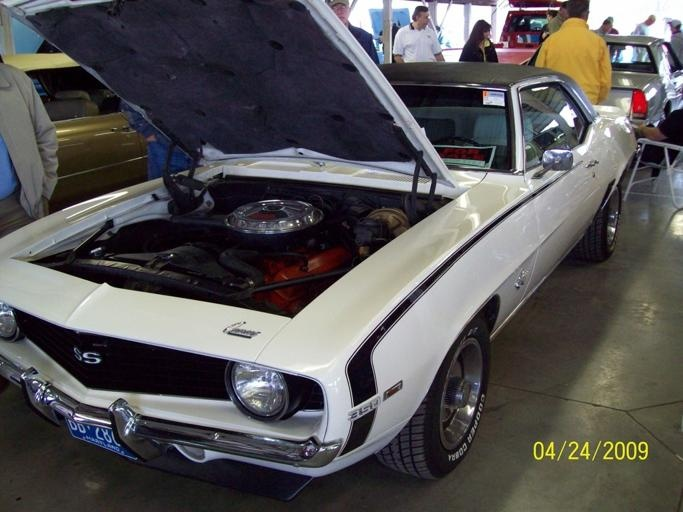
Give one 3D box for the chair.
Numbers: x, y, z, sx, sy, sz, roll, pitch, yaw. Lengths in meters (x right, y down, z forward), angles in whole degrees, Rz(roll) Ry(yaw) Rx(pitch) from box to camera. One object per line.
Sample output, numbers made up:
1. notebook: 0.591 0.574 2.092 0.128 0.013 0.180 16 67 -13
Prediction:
1. chair: 0.847 -0.664 2.769 0.410 0.399 0.527 4 12 16
